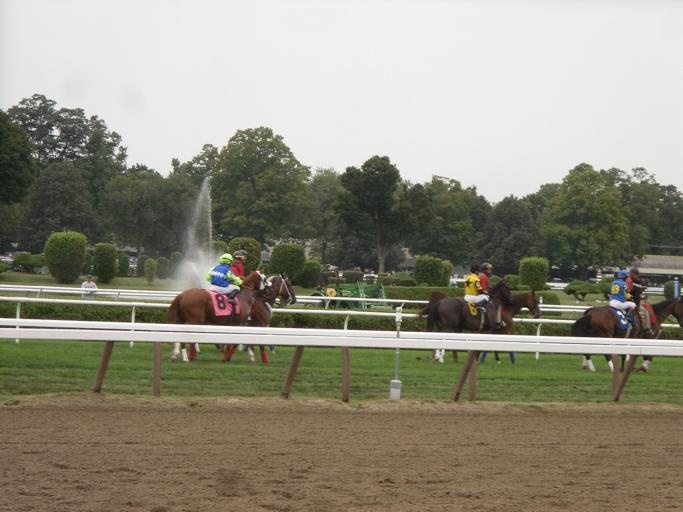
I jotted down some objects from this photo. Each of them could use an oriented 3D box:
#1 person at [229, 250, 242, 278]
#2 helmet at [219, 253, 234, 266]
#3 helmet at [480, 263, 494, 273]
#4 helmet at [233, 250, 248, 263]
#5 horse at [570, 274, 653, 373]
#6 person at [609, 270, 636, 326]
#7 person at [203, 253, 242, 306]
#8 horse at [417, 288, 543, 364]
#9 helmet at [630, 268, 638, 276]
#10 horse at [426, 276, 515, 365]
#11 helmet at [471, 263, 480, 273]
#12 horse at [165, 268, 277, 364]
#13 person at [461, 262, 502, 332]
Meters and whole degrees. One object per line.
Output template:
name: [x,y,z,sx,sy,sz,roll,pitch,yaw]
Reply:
person: [-2.457,0.215,28.611,0.239,0.777,0.405,-5,17,-14]
helmet: [-2.627,0.087,28.154,0.279,0.224,0.218,-12,20,-18]
helmet: [3.442,0.313,29.258,0.253,0.232,0.224,-9,19,-28]
helmet: [-2.504,0.011,30.435,0.333,0.141,0.446,2,18,-1]
horse: [6.331,1.734,28.556,2.747,2.118,0.640,5,3,-41]
person: [6.509,0.977,28.520,0.570,1.306,0.488,0,-6,14]
person: [-2.802,0.578,29.314,0.922,1.365,0.854,19,22,40]
horse: [3.282,1.566,29.245,3.041,1.714,0.702,5,-6,-6]
helmet: [6.955,0.412,29.204,0.170,0.157,0.201,19,24,37]
horse: [3.025,1.508,29.181,2.937,2.035,0.701,8,-5,-36]
helmet: [3.173,0.304,29.014,0.192,0.227,0.237,4,13,7]
horse: [-2.735,1.308,27.964,3.057,2.105,0.763,0,-5,-39]
person: [3.320,0.956,28.963,0.871,1.583,0.382,4,-6,-18]
